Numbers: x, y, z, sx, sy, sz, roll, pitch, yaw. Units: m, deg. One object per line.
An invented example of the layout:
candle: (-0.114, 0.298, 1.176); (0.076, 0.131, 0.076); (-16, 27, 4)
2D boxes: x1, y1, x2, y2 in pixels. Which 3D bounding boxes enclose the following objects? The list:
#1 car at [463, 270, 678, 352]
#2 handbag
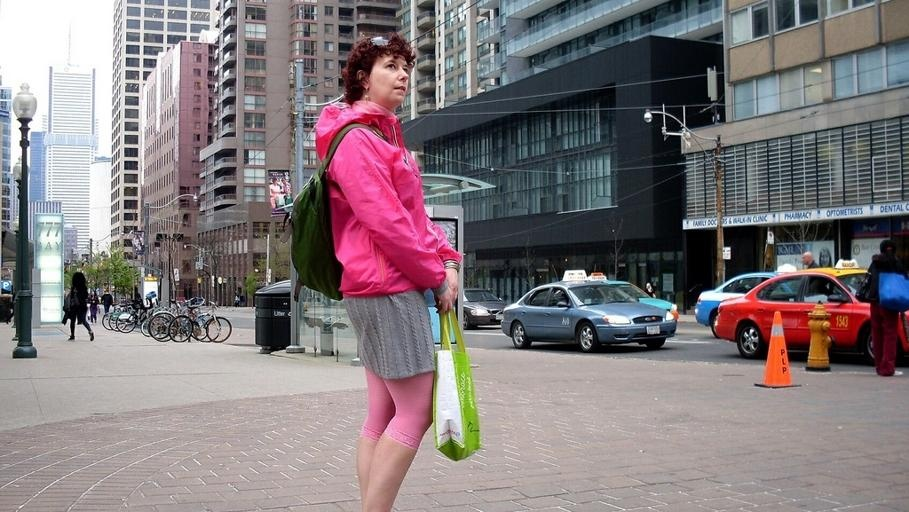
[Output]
car: (3.655, 1.809, 23.721); (2.196, 1.397, 4.636); (1, -6, -34)
handbag: (-0.004, 1.411, 8.742); (0.508, 1.653, 0.254); (-3, -2, -4)
